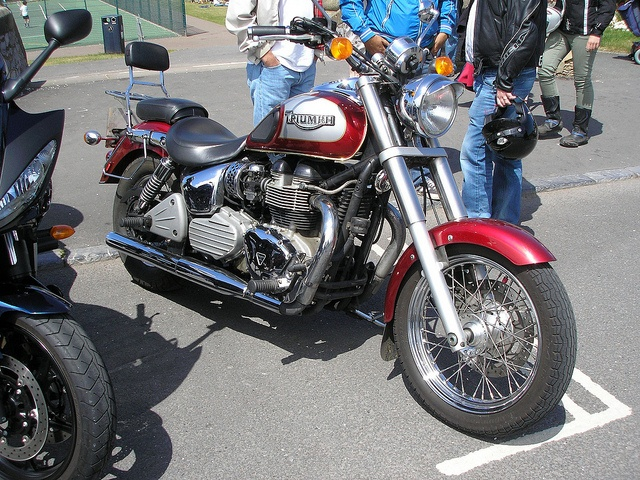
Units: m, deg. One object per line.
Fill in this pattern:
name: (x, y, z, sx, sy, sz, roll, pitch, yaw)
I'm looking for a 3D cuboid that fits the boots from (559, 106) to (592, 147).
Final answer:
boots: (3.786, -1.673, 7.632, 0.575, 0.540, 0.294, -15, 23, -24)
